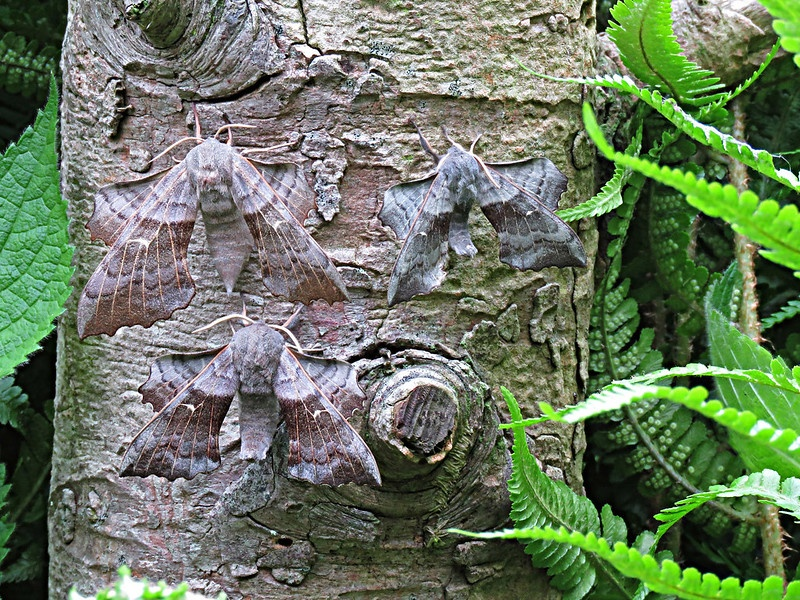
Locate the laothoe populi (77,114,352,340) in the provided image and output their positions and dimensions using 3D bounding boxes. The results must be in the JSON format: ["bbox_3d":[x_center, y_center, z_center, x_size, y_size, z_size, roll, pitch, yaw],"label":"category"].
[{"bbox_3d":[-0.328,-0.068,2.004,0.583,0.419,0.187,8,65,-8],"label":"laothoe populi"}]

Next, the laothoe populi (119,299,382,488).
[{"bbox_3d":[-0.266,0.180,2.016,0.429,0.139,0.357,-5,81,-2],"label":"laothoe populi"}]

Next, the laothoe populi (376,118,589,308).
[{"bbox_3d":[0.128,-0.166,2.084,0.367,0.199,0.333,-10,68,-7],"label":"laothoe populi"}]
